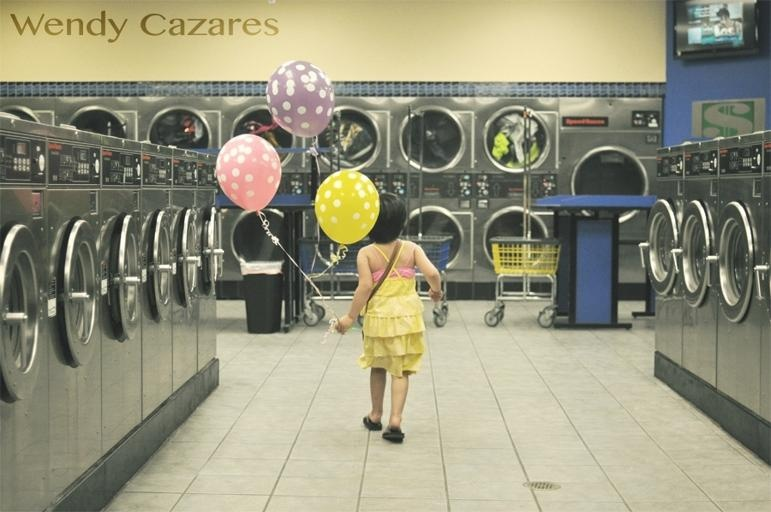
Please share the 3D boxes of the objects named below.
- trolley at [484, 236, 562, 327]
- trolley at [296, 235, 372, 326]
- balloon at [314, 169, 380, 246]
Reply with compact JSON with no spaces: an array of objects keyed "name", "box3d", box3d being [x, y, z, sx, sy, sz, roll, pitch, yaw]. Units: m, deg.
[{"name":"trolley","box3d":[1.411,0.237,9.009,0.785,0.998,0.909,1,4,3]},{"name":"trolley","box3d":[-0.507,0.307,8.913,0.558,0.724,0.750,7,10,-26]},{"name":"balloon","box3d":[-0.277,-0.316,5.609,0.419,0.513,0.417,-1,-6,-10]}]
